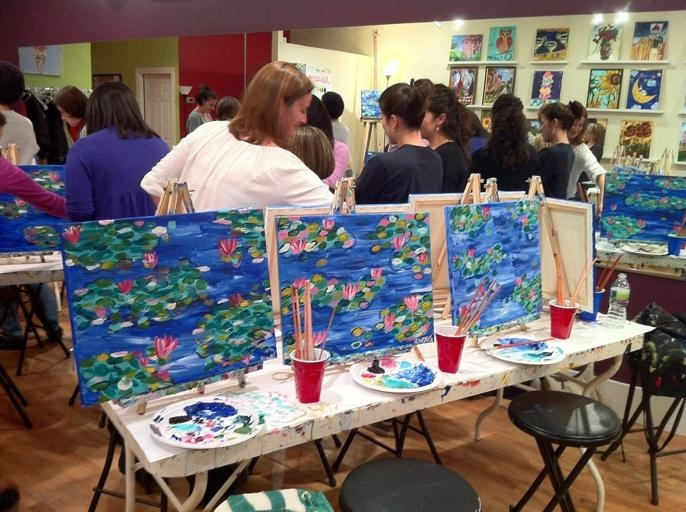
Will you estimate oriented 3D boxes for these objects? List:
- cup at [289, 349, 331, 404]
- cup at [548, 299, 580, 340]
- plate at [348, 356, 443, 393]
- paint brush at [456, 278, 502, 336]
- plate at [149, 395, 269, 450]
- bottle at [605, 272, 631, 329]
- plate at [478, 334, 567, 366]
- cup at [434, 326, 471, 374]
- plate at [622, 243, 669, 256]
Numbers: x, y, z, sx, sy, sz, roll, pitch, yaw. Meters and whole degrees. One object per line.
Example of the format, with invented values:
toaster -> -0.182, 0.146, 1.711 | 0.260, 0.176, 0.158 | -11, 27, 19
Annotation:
cup -> -0.099, 0.379, 1.607 | 0.146, 0.152, 0.145 | 1, 0, 0
cup -> 0.895, 0.259, 2.080 | 0.133, 0.141, 0.137 | 1, 6, 0
plate -> 0.175, 0.403, 1.710 | 0.290, 0.022, 0.245 | -6, 17, -18
paint brush -> 0.526, 0.167, 1.903 | 0.102, 0.094, 0.353 | 37, 42, 8
plate -> -0.379, 0.471, 1.404 | 0.150, 0.020, 0.149 | -8, 23, -39
bottle -> 1.266, 0.198, 2.312 | 0.081, 0.208, 0.247 | 9, 18, 29
plate -> 0.718, 0.370, 1.925 | 0.339, 0.041, 0.160 | -3, 16, -10
cup -> 0.358, 0.324, 1.788 | 0.142, 0.152, 0.141 | 1, 5, 0
plate -> 1.873, -0.037, 3.109 | 0.143, 0.024, 0.115 | 7, 22, 27
